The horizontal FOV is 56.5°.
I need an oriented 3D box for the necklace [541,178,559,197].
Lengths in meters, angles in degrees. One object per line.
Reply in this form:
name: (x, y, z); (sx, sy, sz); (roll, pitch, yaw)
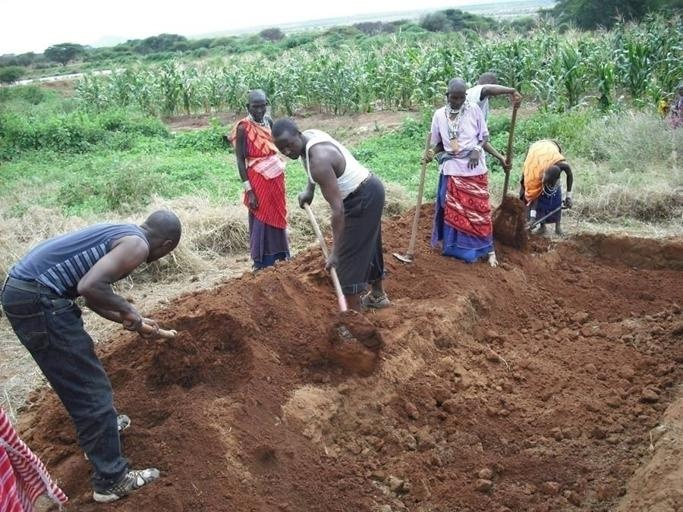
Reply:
necklace: (2.865, -0.922, 8.691); (0.174, 0.252, 0.229); (2, 6, 11)

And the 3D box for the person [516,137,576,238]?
person: (2.839, -0.929, 8.841); (0.700, 1.238, 0.592); (3, 21, 18)

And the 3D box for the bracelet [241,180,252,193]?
bracelet: (-1.134, -0.804, 7.451); (0.123, 0.145, 0.125); (-1, 19, 13)

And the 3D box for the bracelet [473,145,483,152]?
bracelet: (1.570, -1.245, 7.365); (0.075, 0.072, 0.080); (5, -27, 3)

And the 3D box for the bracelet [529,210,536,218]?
bracelet: (2.677, -0.590, 8.875); (0.080, 0.091, 0.086); (-5, -2, -12)

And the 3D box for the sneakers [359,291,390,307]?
sneakers: (0.368, 0.469, 6.950); (0.337, 0.165, 0.144); (4, 8, 33)

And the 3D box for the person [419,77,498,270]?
person: (1.443, -0.960, 7.585); (0.839, 2.217, 0.487); (1, 21, 13)

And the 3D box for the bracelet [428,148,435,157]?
bracelet: (1.058, -1.220, 7.574); (0.081, 0.099, 0.043); (-12, -21, -21)

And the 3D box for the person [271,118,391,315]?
person: (-0.033, -0.305, 6.282); (1.061, 2.150, 0.653); (-7, 20, -8)

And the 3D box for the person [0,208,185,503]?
person: (-1.995, 0.868, 5.237); (1.290, 2.179, 0.797); (-11, 21, -17)
